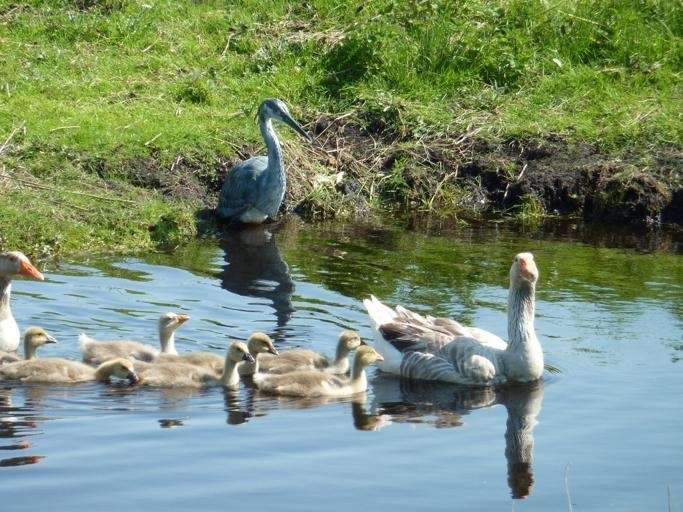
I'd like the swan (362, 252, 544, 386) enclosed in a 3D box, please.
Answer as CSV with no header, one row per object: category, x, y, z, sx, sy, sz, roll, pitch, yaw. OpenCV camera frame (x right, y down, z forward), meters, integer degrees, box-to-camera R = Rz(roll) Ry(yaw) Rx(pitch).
swan,1.637,0.809,15.684,1.403,1.938,3.203,-12,14,-40
